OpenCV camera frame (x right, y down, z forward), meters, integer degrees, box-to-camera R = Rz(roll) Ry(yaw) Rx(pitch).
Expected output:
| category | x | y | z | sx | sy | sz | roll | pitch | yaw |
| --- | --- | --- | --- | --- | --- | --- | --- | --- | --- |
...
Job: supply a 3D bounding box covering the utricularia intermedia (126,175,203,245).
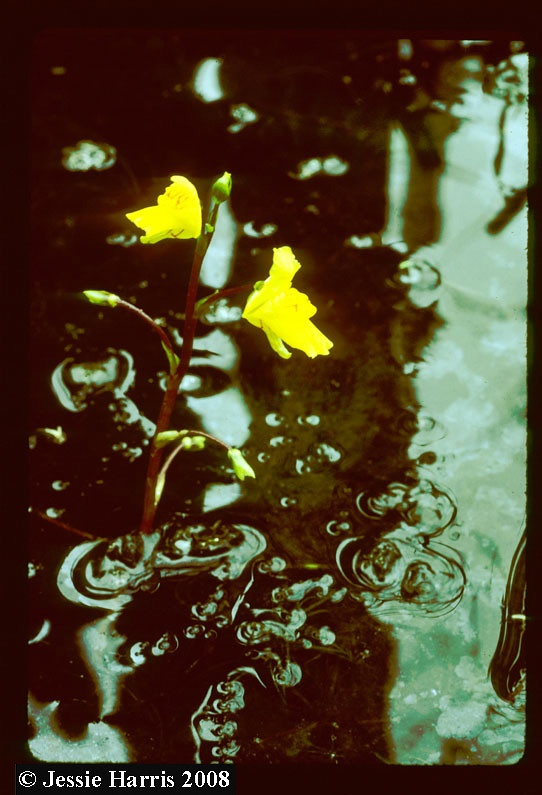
| category | x | y | z | sx | sy | sz | roll | pitch | yaw |
| --- | --- | --- | --- | --- | --- | --- | --- | --- | --- |
| utricularia intermedia | -0.124 | -0.235 | 1.078 | 0.100 | 0.078 | 0.044 | -19 | -8 | 10 |
